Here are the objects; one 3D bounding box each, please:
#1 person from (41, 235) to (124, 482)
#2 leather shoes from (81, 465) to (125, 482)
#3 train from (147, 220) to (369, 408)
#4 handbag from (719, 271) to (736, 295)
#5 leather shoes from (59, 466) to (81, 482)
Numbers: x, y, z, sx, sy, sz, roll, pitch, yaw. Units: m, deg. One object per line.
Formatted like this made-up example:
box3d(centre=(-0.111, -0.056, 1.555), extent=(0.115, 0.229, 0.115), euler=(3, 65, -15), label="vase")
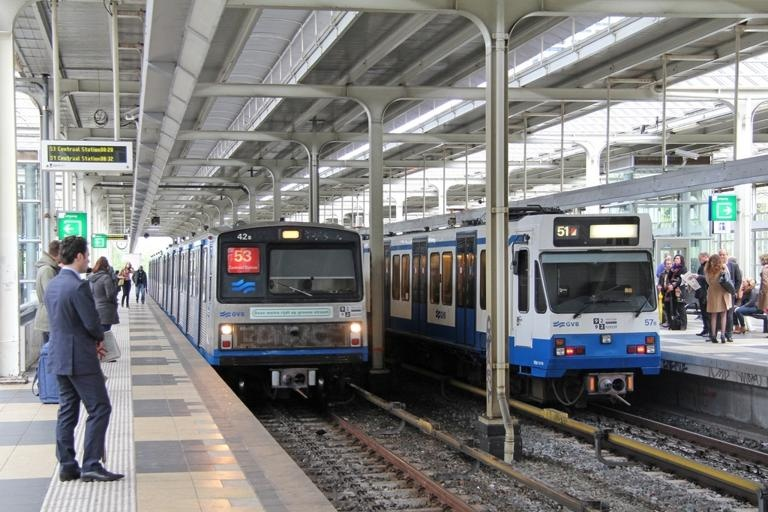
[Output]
box3d(centre=(-3.387, 1.146, 6.958), extent=(0.824, 2.742, 0.362), euler=(1, 2, 13), label="person")
box3d(centre=(-3.168, 2.407, 7.015), extent=(0.558, 0.206, 0.175), euler=(1, -1, -14), label="leather shoes")
box3d(centre=(-3.107, 1.471, 15.965), extent=(3.288, 4.593, 6.000), euler=(0, 2, -24), label="train")
box3d(centre=(8.958, 0.712, 16.277), extent=(0.171, 0.435, 0.462), euler=(-16, -41, 25), label="handbag")
box3d(centre=(-3.547, 2.416, 7.013), extent=(0.123, 0.155, 0.329), euler=(1, 2, -1), label="leather shoes")
